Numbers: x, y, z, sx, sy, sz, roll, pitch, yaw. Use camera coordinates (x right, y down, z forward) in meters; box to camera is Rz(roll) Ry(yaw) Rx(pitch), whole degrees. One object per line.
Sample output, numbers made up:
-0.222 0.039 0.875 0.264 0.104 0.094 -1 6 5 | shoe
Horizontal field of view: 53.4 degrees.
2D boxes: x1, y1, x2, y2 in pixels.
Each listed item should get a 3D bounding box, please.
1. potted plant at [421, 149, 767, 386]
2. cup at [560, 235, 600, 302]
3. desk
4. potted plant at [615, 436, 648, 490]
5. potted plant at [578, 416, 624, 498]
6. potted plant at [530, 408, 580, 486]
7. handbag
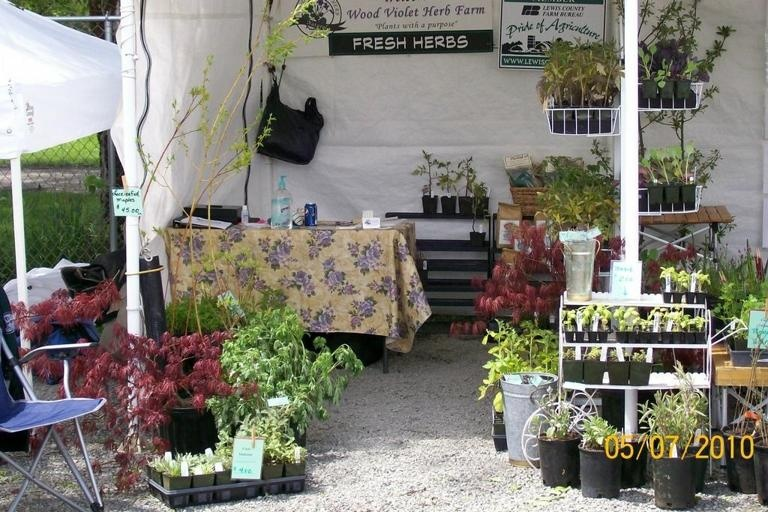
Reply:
1.364 0.124 6.199 1.800 1.410 1.941 4 41 21 | potted plant
1.264 0.072 4.967 0.190 0.417 0.134 2 12 13 | cup
-0.797 0.358 6.929 2.356 1.161 1.079 2 -8 1 | desk
1.537 1.278 4.844 0.270 0.315 0.280 -1 5 2 | potted plant
1.338 1.226 4.721 0.257 0.476 0.200 3 12 16 | potted plant
1.111 1.233 4.913 0.276 0.474 0.273 8 -19 -7 | potted plant
-0.984 -1.414 7.901 0.786 1.038 0.350 12 -9 -16 | handbag
